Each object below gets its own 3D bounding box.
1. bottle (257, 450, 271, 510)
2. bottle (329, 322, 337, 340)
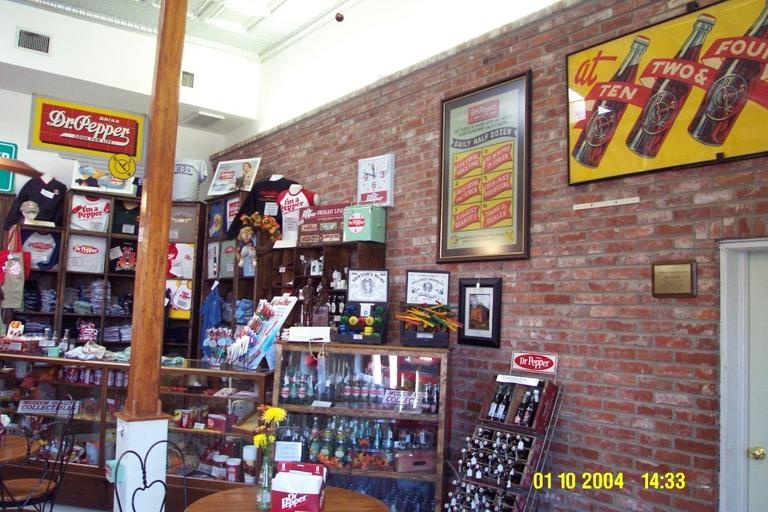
[{"bbox_3d":[-0.882,1.633,4.006,0.098,0.429,0.229,6,-9,-14],"label":"bottle"},{"bbox_3d":[-0.552,0.806,5.801,0.118,0.196,0.111,1,11,0],"label":"bottle"}]
